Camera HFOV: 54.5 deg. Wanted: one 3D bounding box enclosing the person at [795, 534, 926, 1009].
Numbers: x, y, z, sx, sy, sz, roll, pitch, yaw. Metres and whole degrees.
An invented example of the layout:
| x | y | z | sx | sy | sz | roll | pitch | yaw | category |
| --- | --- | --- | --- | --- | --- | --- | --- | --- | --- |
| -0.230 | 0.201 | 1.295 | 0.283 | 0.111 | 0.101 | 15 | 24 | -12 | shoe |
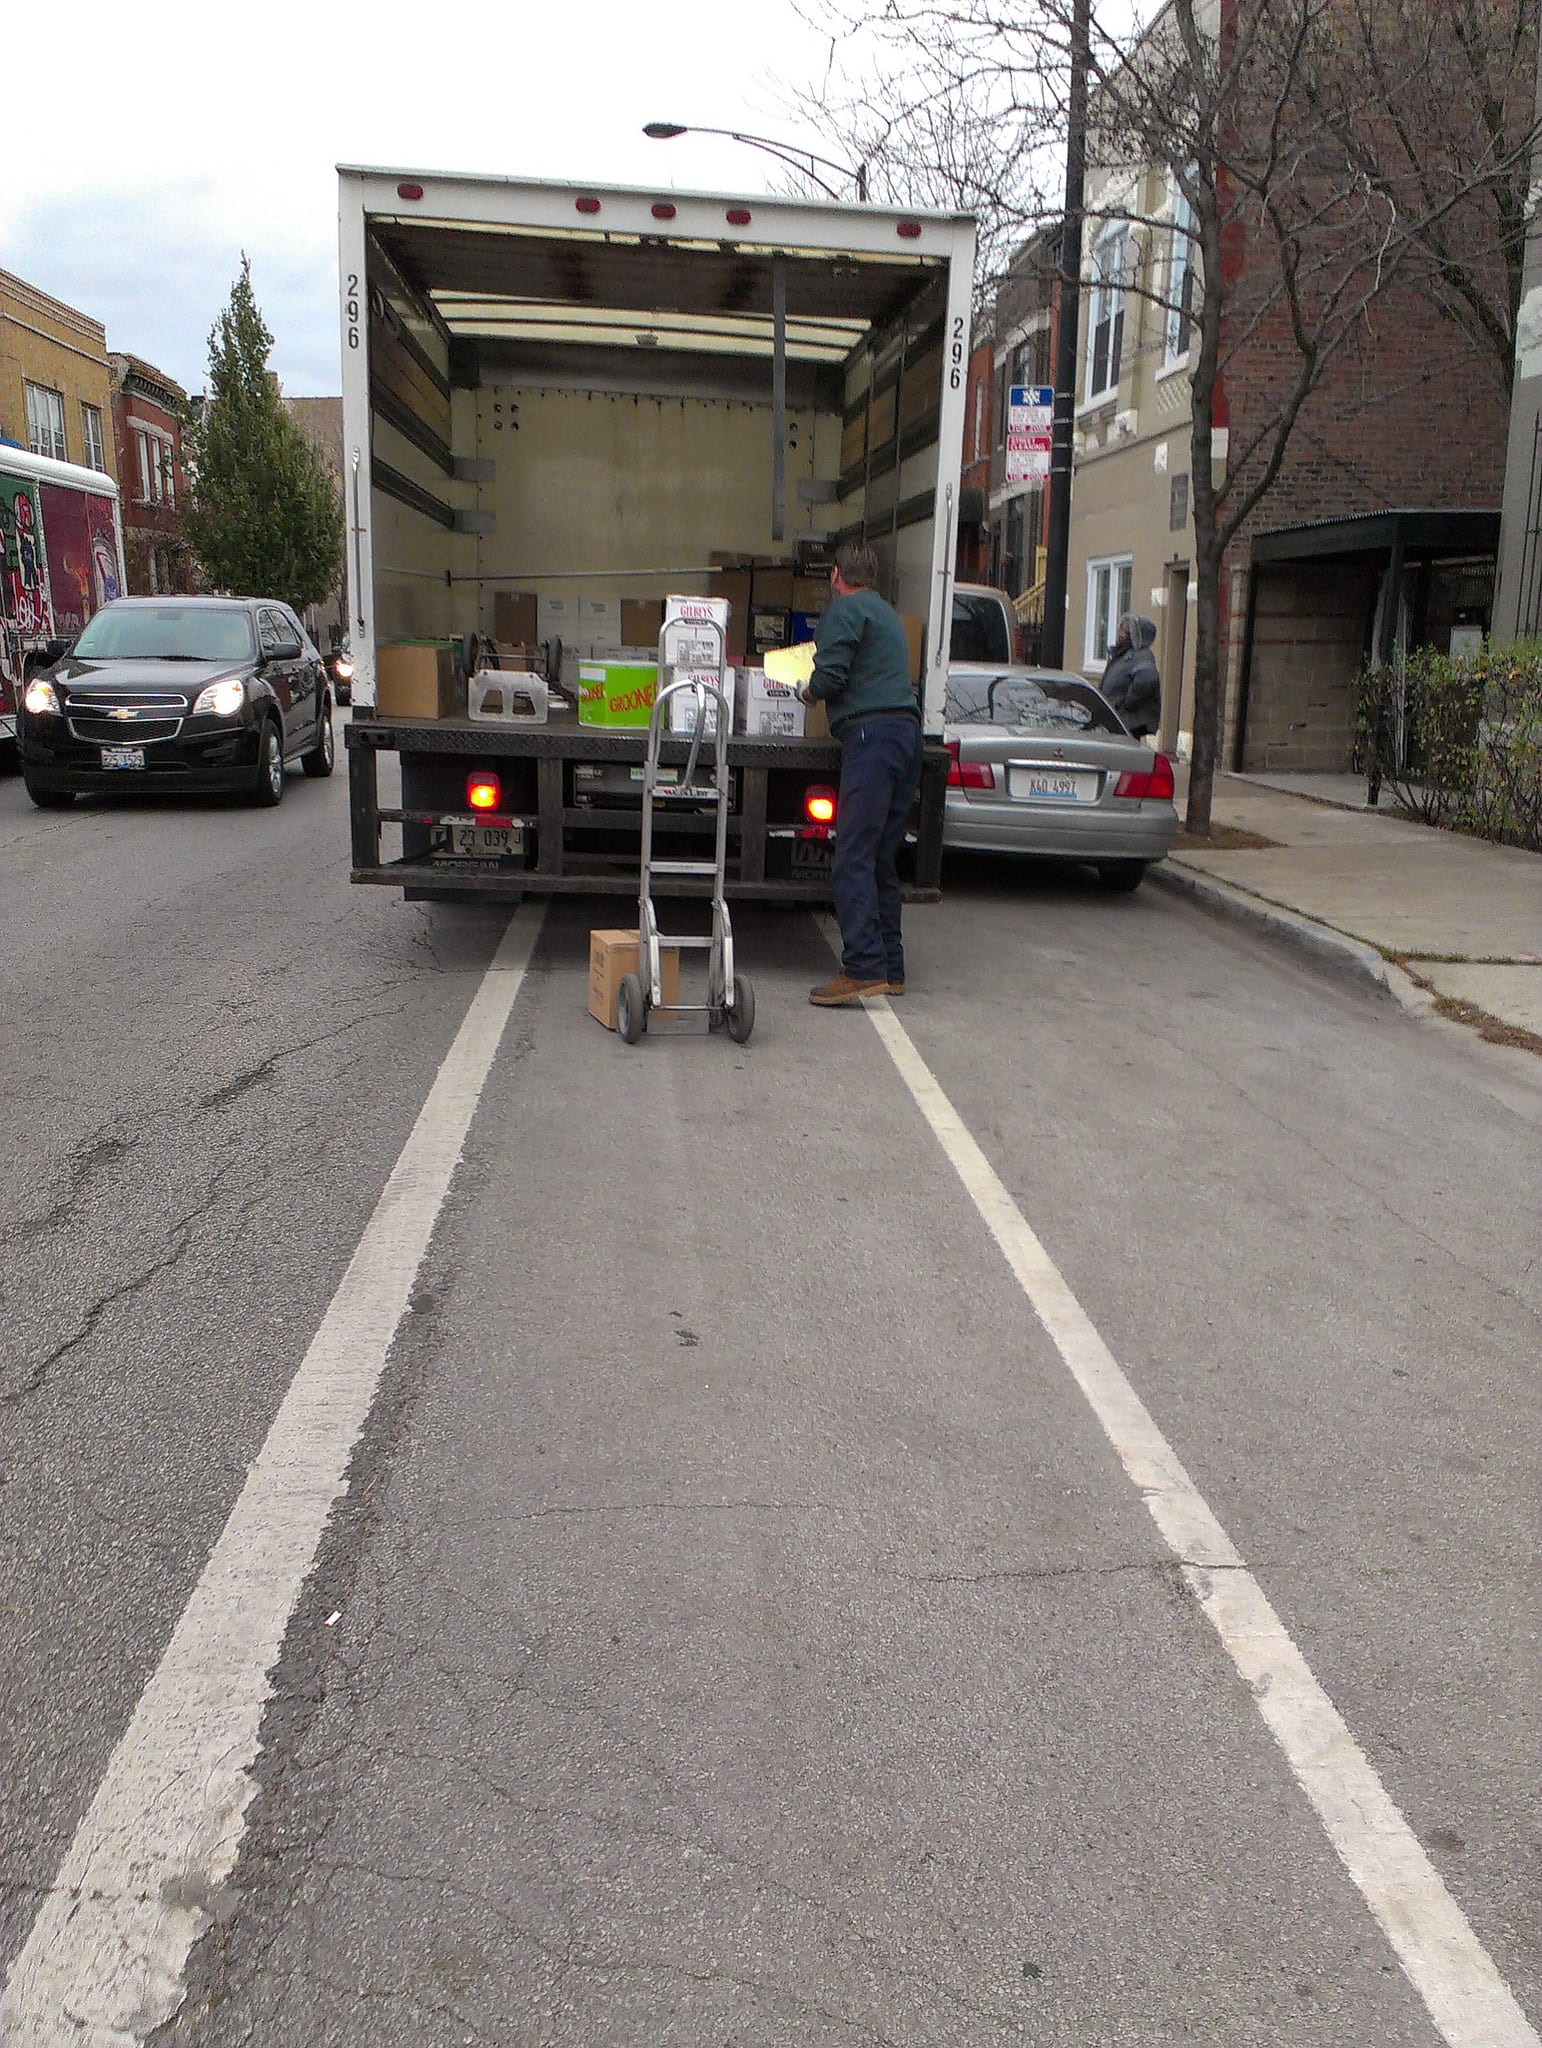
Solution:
| x | y | z | sx | sy | sz | roll | pitch | yaw | category |
| --- | --- | --- | --- | --- | --- | --- | --- | --- | --- |
| 0.449 | -1.172 | 7.176 | 0.647 | 2.187 | 0.375 | -3 | 8 | -28 | person |

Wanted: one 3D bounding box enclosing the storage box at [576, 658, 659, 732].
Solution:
| x | y | z | sx | sy | sz | roll | pitch | yaw | category |
| --- | --- | --- | --- | --- | --- | --- | --- | --- | --- |
| -0.784 | -1.732 | 7.878 | 0.446 | 0.607 | 0.301 | 1 | 9 | 0 | storage box |

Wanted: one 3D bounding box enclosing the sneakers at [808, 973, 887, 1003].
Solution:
| x | y | z | sx | sy | sz | roll | pitch | yaw | category |
| --- | --- | --- | --- | --- | --- | --- | --- | --- | --- |
| 0.388 | -0.180 | 7.329 | 0.356 | 0.212 | 0.162 | 2 | 16 | 3 | sneakers |

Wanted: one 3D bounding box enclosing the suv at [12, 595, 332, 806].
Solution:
| x | y | z | sx | sy | sz | roll | pitch | yaw | category |
| --- | --- | --- | --- | --- | --- | --- | --- | --- | --- |
| -6.031 | -3.442 | 15.651 | 2.073 | 2.289 | 3.611 | 2 | 10 | 5 | suv |

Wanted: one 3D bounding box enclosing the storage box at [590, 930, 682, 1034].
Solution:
| x | y | z | sx | sy | sz | roll | pitch | yaw | category |
| --- | --- | --- | --- | --- | --- | --- | --- | --- | --- |
| -0.618 | -0.279 | 6.723 | 0.301 | 0.554 | 0.476 | 4 | 10 | 16 | storage box |

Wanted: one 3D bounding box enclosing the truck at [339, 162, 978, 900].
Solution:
| x | y | z | sx | sy | sz | roll | pitch | yaw | category |
| --- | --- | --- | --- | --- | --- | --- | --- | --- | --- |
| -0.748 | -3.297 | 9.619 | 2.710 | 3.906 | 5.292 | 3 | 16 | -4 | truck |

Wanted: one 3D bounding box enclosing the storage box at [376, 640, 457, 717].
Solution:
| x | y | z | sx | sy | sz | roll | pitch | yaw | category |
| --- | --- | --- | --- | --- | --- | --- | --- | --- | --- |
| -1.844 | -1.674 | 7.777 | 0.269 | 0.457 | 0.602 | 0 | 11 | -3 | storage box |
